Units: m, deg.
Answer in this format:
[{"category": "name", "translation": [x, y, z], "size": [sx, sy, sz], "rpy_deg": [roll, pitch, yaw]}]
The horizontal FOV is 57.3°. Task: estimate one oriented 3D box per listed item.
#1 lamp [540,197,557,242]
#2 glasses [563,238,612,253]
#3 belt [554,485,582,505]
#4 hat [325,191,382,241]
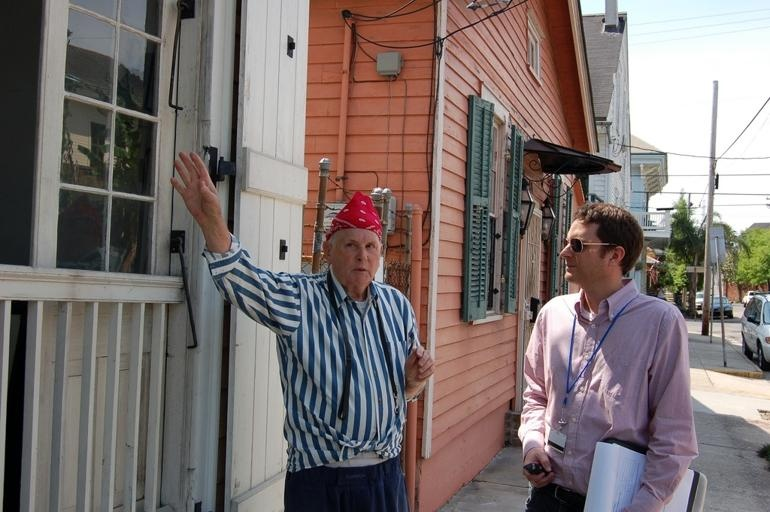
[{"category": "lamp", "translation": [2.517, -0.566, 11.080], "size": [0.273, 0.734, 0.271], "rpy_deg": [0, -6, 45]}, {"category": "glasses", "translation": [1.131, -0.064, 3.972], "size": [0.146, 0.051, 0.121], "rpy_deg": [3, -3, -8]}, {"category": "belt", "translation": [1.002, 1.290, 3.863], "size": [0.105, 0.051, 0.085], "rpy_deg": [1, -3, 27]}, {"category": "hat", "translation": [-0.177, -0.211, 3.968], "size": [0.199, 0.188, 0.294], "rpy_deg": [4, -8, -23]}]
